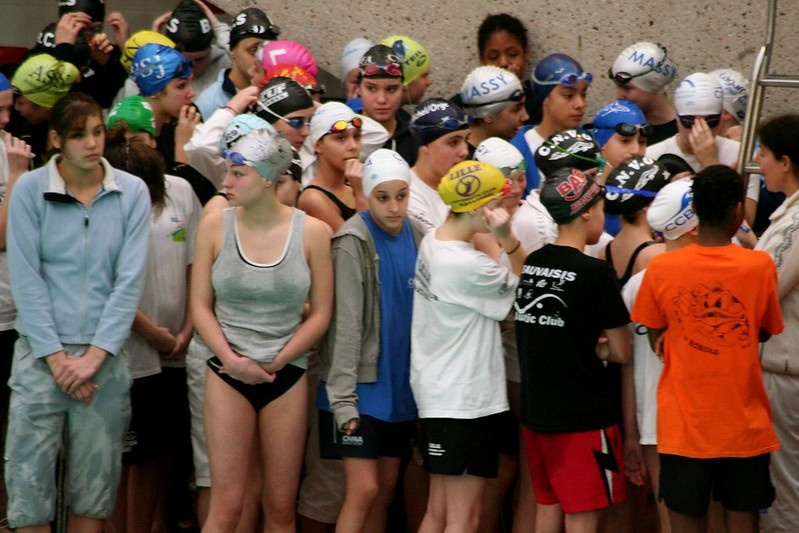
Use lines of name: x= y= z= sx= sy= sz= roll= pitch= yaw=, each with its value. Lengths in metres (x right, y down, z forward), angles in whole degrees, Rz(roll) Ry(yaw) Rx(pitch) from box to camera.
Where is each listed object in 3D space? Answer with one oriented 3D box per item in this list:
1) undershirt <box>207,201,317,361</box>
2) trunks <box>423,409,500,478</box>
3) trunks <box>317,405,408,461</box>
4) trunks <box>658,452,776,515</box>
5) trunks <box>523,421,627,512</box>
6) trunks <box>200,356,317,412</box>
undershirt: x=-0.910 y=0.115 z=5.460 sx=0.754 sy=0.898 sz=0.558 roll=6 pitch=11 yaw=-3
trunks: x=0.355 y=1.112 z=5.223 sx=0.720 sy=0.408 sz=0.372 roll=0 pitch=-11 yaw=-1
trunks: x=-0.079 y=1.108 z=5.642 sx=0.283 sy=0.282 sz=0.467 roll=8 pitch=-2 yaw=-30
trunks: x=1.895 y=1.288 z=5.015 sx=0.642 sy=0.355 sz=0.320 roll=-1 pitch=-8 yaw=-1
trunks: x=1.092 y=1.233 z=5.237 sx=0.418 sy=0.549 sz=0.654 roll=11 pitch=-15 yaw=-30
trunks: x=-0.816 y=0.764 z=5.434 sx=0.401 sy=0.166 sz=0.362 roll=-11 pitch=13 yaw=-26
